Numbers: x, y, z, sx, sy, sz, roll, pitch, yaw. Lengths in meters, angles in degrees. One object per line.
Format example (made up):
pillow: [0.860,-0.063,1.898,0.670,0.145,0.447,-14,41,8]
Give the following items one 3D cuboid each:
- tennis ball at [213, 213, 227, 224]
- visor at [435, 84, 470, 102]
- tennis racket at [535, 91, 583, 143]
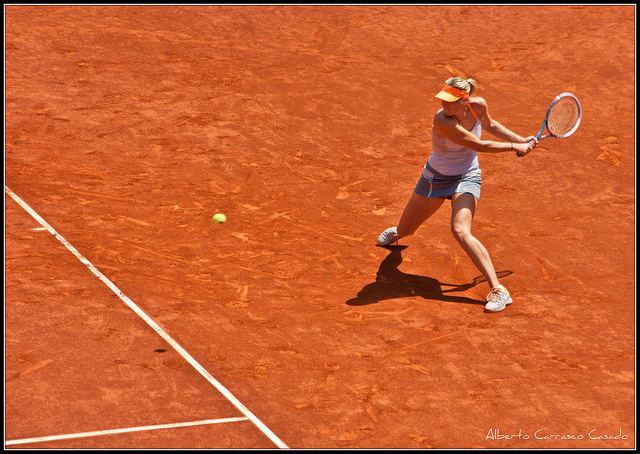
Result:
tennis ball: [-1.315,-0.099,8.675,0.155,0.086,0.134,3,4,-3]
visor: [1.431,-1.416,7.157,0.323,0.166,0.239,14,24,8]
tennis racket: [2.826,-1.259,7.785,0.365,0.547,0.567,21,26,14]
